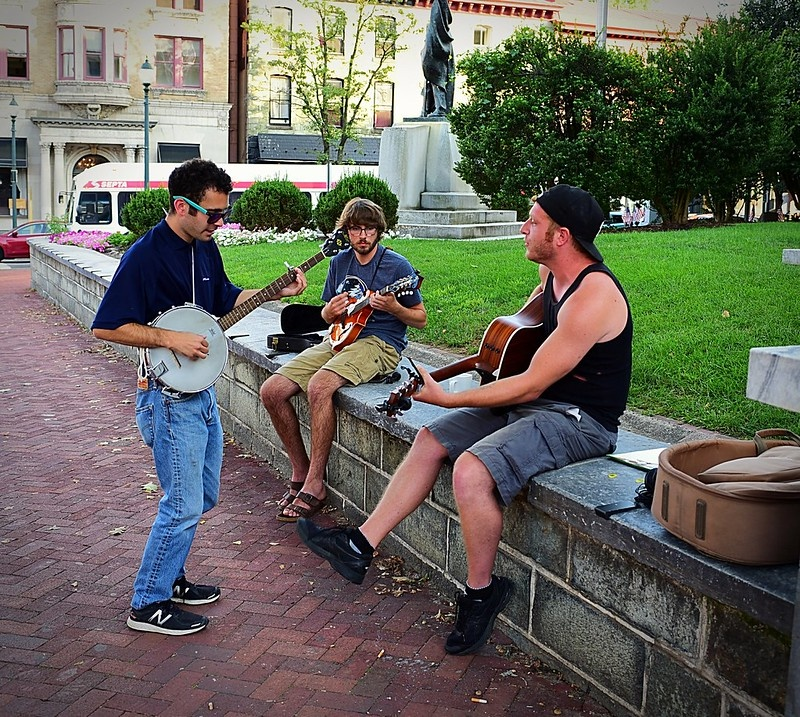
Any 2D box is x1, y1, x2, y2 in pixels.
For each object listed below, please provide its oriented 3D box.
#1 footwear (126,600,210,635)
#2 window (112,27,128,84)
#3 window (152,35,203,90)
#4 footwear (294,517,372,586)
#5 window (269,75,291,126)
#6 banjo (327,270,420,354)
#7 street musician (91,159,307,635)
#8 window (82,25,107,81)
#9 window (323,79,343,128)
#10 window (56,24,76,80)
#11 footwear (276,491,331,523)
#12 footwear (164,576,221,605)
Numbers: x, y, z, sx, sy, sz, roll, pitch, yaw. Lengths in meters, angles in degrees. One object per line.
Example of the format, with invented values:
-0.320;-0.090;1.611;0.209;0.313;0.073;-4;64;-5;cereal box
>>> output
-1.143;1.274;3.683;0.397;0.192;0.160;3;2;-3;footwear
-14.128;-15.234;36.855;0.760;3.233;0.124;1;-18;-23;window
-11.598;-15.444;38.233;2.565;2.605;0.281;3;11;0;window
-0.349;0.946;3.840;0.476;0.211;0.162;31;19;23;footwear
-6.697;-14.219;40.377;1.133;2.606;0.156;1;9;-4;window
-0.224;-0.347;5.116;0.106;0.411;0.789;13;-26;-31;banjo
-1.106;0.146;3.826;0.540;2.319;0.928;2;11;10;street musician
-15.164;-15.204;36.332;1.089;2.390;0.371;0;11;0;window
-3.574;-13.633;38.902;1.021;2.925;0.159;2;51;-4;window
-16.579;-15.269;36.508;0.123;2.546;0.766;30;33;25;window
-0.658;1.016;5.027;0.164;0.146;0.392;5;11;37;footwear
-1.097;1.245;3.920;0.292;0.141;0.108;0;6;-8;footwear
